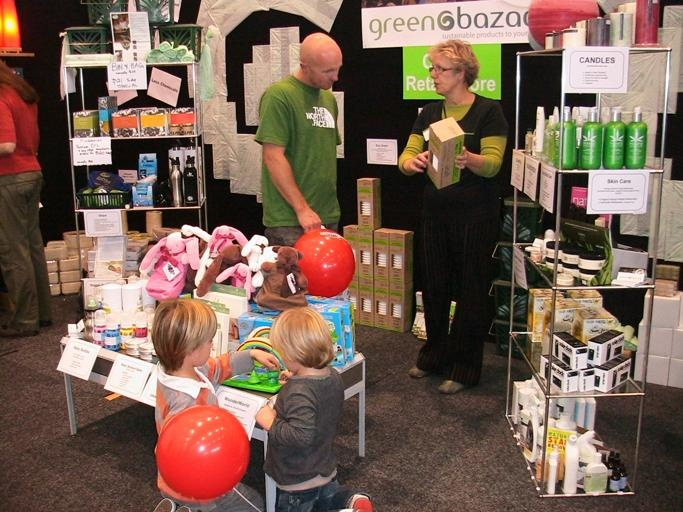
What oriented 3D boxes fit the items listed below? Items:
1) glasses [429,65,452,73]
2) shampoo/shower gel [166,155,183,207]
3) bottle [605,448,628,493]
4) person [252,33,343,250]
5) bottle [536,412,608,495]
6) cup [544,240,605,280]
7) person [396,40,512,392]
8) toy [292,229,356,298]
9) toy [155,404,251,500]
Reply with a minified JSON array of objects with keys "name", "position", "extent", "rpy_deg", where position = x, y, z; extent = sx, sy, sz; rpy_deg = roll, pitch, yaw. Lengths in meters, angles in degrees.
[{"name":"glasses","position":[0.653,-1.270,3.388],"extent":[0.088,0.027,0.087],"rpy_deg":[-1,8,-36]},{"name":"shampoo/shower gel","position":[-1.372,-0.618,4.146],"extent":[0.108,0.402,0.197],"rpy_deg":[-4,11,-18]},{"name":"bottle","position":[1.505,1.167,2.741],"extent":[0.115,0.208,0.161],"rpy_deg":[6,12,31]},{"name":"person","position":[-0.277,-0.766,3.368],"extent":[0.597,1.393,0.549],"rpy_deg":[-2,11,-9]},{"name":"bottle","position":[1.246,1.098,2.689],"extent":[0.327,0.373,0.237],"rpy_deg":[6,12,32]},{"name":"cup","position":[1.251,0.027,2.695],"extent":[0.125,0.164,0.305],"rpy_deg":[-2,10,-12]},{"name":"person","position":[0.781,-0.240,3.620],"extent":[0.698,2.530,0.507],"rpy_deg":[4,11,24]},{"name":"toy","position":[-0.151,0.026,2.951],"extent":[0.355,0.409,0.356],"rpy_deg":[-22,16,-41]},{"name":"toy","position":[-0.499,0.741,1.775],"extent":[0.295,0.381,0.202],"rpy_deg":[3,11,19]}]
